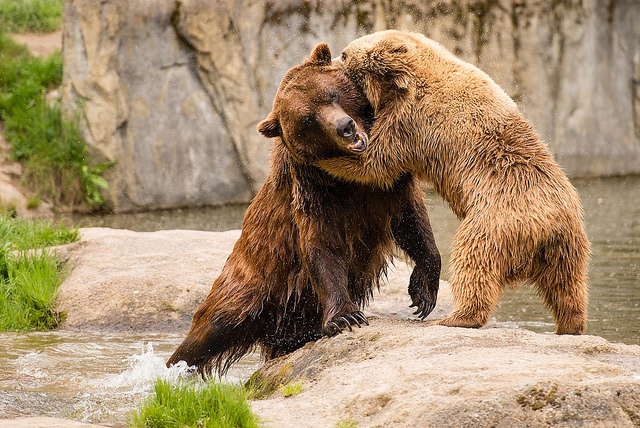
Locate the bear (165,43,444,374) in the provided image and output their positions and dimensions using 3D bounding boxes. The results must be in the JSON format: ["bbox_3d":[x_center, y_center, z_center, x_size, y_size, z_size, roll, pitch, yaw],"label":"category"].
[{"bbox_3d":[-0.157,0.397,15.041,2.832,3.669,5.715,-11,-11,-33],"label":"bear"}]
